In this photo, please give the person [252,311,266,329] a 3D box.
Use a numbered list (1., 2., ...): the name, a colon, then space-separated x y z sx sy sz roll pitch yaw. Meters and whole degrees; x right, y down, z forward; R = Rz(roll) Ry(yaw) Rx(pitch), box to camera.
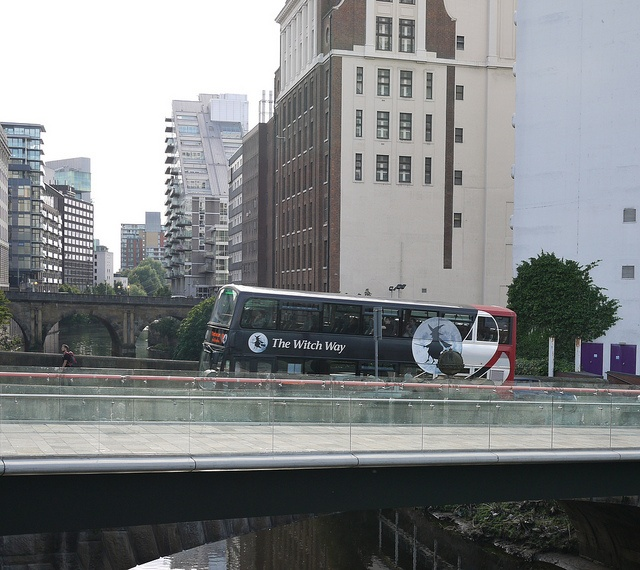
1. person: -2.592 1.519 58.254 0.751 0.903 0.603 -1 0 8
